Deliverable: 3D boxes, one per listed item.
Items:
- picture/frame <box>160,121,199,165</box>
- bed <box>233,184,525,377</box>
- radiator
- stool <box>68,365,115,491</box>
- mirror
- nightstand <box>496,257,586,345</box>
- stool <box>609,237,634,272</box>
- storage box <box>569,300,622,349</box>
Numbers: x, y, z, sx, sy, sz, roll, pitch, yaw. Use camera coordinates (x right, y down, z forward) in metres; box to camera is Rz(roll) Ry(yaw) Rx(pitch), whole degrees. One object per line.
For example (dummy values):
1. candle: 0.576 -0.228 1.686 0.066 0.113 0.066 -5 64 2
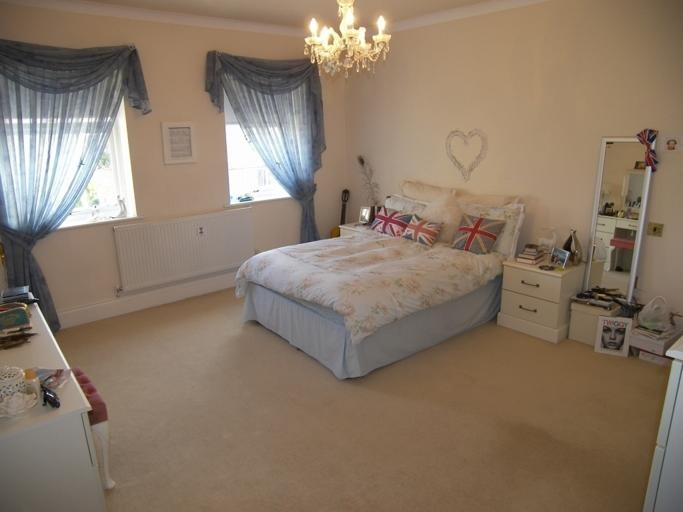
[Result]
1. picture/frame: -1.934 -1.350 5.498 0.040 0.563 0.447 12 16 42
2. bed: 0.445 0.118 4.968 2.729 1.414 1.704 -9 17 -31
3. radiator: -1.897 -0.085 5.730 1.681 0.847 0.110 -12 18 -38
4. stool: -1.608 1.145 3.172 0.308 0.873 0.385 -1 13 -25
5. mirror: 2.703 -0.358 4.534 0.465 1.549 0.177 9 17 34
6. nightstand: 2.184 0.313 4.996 0.663 0.896 0.843 -11 17 -37
7. stool: 2.742 -0.024 4.536 0.144 0.284 0.280 -3 7 -34
8. storage box: 2.387 0.687 4.431 0.406 0.429 0.337 3 13 9
